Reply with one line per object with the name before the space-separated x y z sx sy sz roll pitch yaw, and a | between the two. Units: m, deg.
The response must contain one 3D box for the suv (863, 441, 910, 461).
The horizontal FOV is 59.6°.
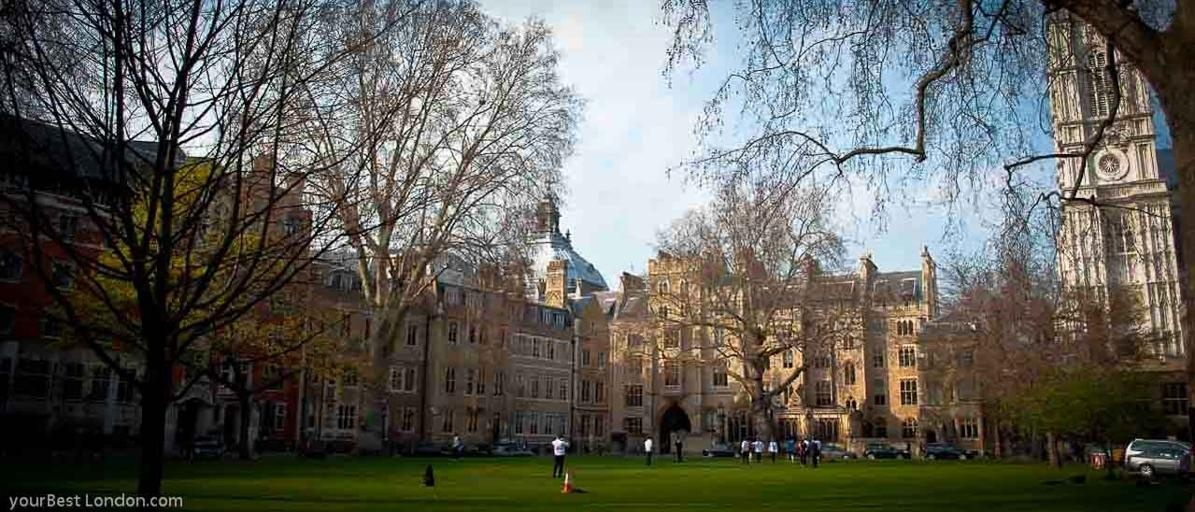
suv | 29.093 19.567 106.108 4.189 1.872 2.894 -5 -19 12
